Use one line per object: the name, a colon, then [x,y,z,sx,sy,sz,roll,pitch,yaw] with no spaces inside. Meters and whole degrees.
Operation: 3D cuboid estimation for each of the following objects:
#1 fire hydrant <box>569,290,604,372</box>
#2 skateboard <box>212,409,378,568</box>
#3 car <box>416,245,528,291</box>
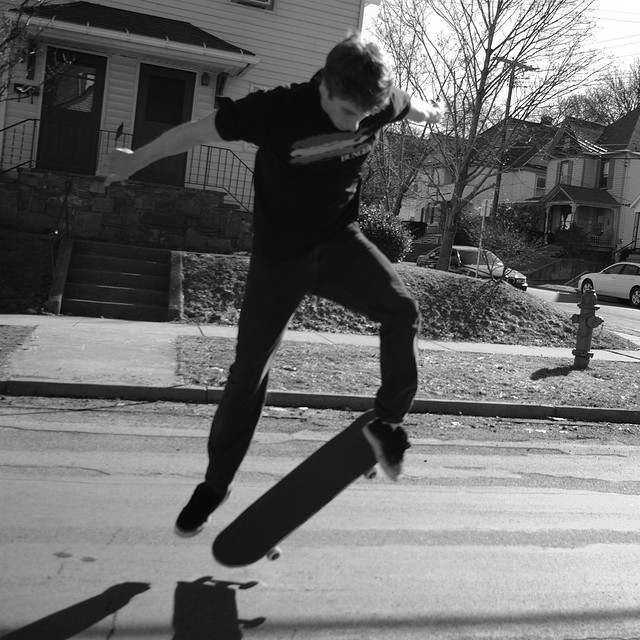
fire hydrant: [3.887,0.078,9.822,0.461,1.010,0.552,4,5,13]
skateboard: [-0.060,0.633,2.683,0.206,0.863,0.126,55,5,35]
car: [4.626,-1.840,22.701,1.781,1.145,3.881,-2,5,-32]
